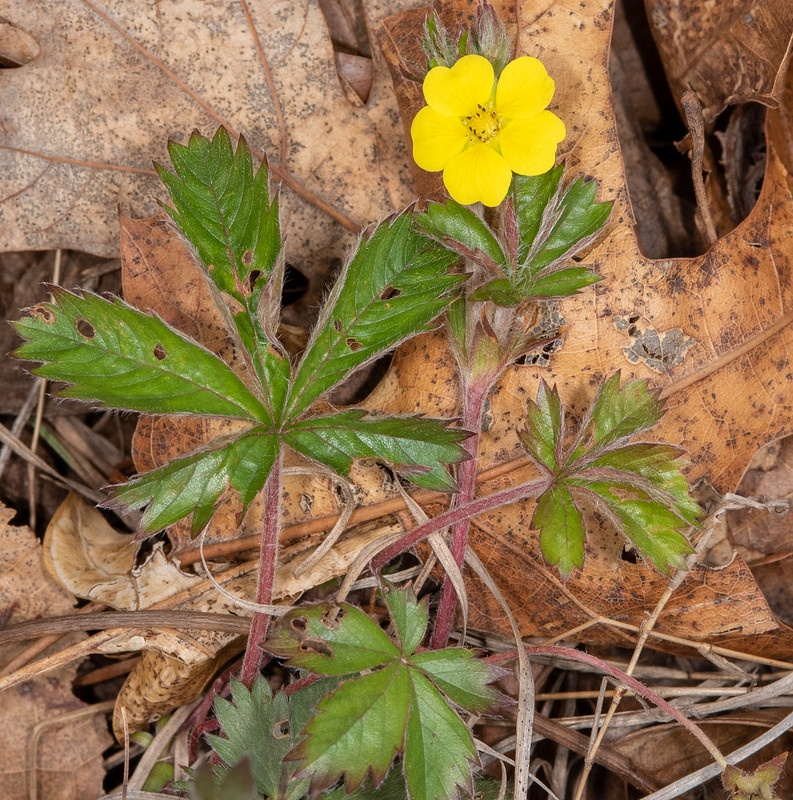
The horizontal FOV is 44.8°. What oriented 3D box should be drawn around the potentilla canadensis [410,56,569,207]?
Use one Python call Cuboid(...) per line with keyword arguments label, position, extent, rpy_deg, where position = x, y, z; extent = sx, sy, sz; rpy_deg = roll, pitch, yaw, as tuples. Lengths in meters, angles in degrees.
Cuboid(label="potentilla canadensis", position=(0.233, -0.743, 2.584), extent=(0.480, 0.461, 0.126), rpy_deg=(-12, 75, -18))
